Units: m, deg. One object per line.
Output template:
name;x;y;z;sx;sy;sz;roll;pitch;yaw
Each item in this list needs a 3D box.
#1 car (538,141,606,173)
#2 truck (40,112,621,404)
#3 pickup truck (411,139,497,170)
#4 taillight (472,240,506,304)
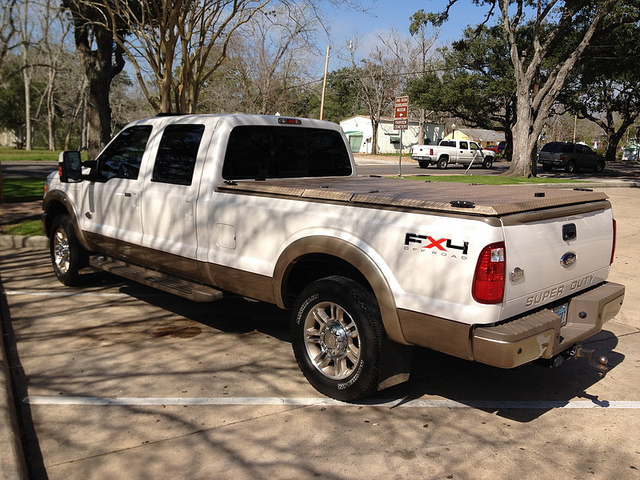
car;17.996;-5.884;34.325;4.712;1.695;2.248;-9;14;-25
truck;-0.776;-0.065;6.395;7.546;2.261;3.200;13;14;40
pickup truck;9.936;-6.362;35.667;6.156;1.867;2.664;-7;13;-27
taillight;1.220;0.231;3.474;0.227;0.448;0.059;-2;14;-15
